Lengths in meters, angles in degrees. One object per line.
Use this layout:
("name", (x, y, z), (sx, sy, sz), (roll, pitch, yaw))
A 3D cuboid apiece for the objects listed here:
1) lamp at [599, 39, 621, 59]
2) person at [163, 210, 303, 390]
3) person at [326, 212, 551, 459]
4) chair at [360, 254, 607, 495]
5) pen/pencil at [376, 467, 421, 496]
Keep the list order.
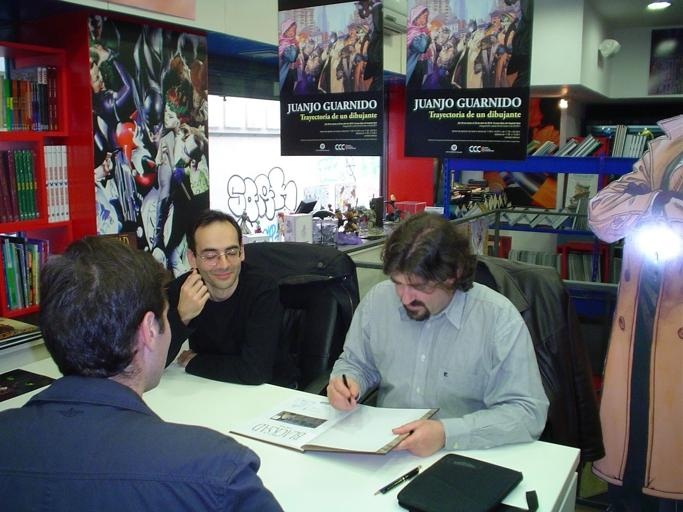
("lamp", (2.830, -2.209, 5.458), (0.190, 0.217, 0.361), (4, 8, 27))
("person", (-0.592, 0.181, 2.385), (0.493, 0.756, 0.476), (0, 15, -2))
("person", (0.359, 0.223, 2.216), (0.947, 1.118, 0.767), (5, 9, 41))
("chair", (0.695, 0.436, 2.491), (0.710, 1.101, 0.720), (0, 9, 25))
("pen/pencil", (0.171, 0.667, 1.538), (0.024, 0.022, 0.178), (4, 9, 41))
